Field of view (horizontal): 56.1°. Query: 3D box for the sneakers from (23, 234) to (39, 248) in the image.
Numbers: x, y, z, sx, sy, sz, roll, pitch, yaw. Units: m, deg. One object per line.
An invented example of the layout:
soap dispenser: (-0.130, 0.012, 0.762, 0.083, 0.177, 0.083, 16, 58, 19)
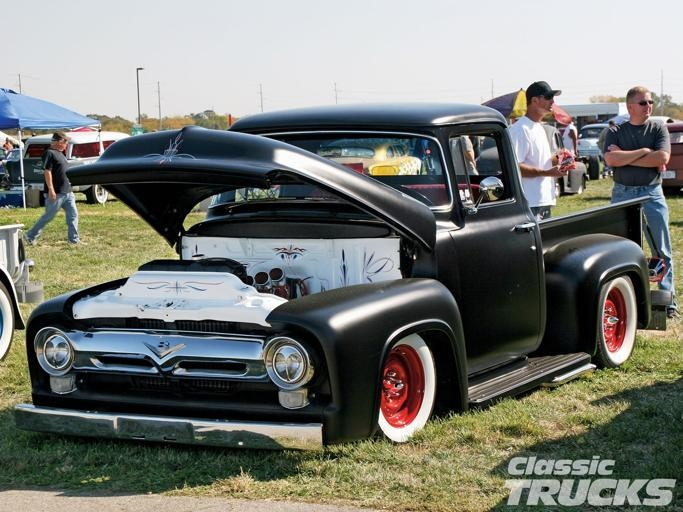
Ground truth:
sneakers: (-6.738, -0.322, 13.795, 0.394, 0.234, 0.193, 19, 7, -28)

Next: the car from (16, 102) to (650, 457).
car: (0.389, 0.005, 4.905, 2.433, 1.523, 4.165, -2, 2, 41)

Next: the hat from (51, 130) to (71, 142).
hat: (-6.146, -2.588, 13.996, 0.247, 0.167, 0.321, 7, 15, 18)
